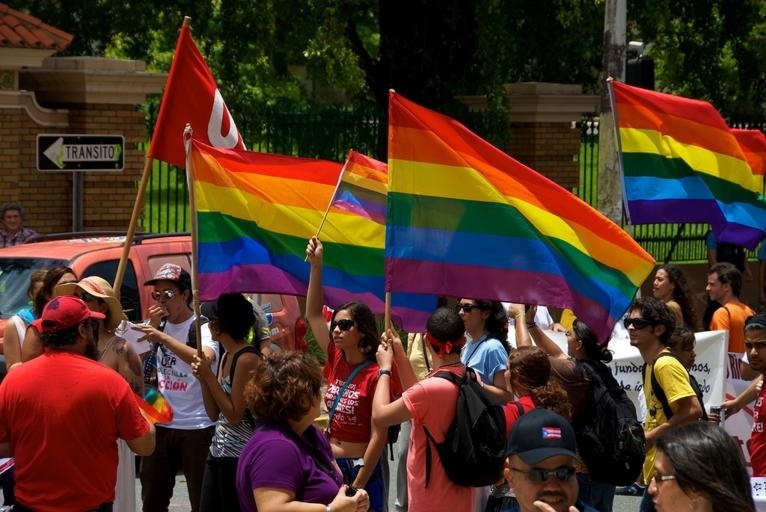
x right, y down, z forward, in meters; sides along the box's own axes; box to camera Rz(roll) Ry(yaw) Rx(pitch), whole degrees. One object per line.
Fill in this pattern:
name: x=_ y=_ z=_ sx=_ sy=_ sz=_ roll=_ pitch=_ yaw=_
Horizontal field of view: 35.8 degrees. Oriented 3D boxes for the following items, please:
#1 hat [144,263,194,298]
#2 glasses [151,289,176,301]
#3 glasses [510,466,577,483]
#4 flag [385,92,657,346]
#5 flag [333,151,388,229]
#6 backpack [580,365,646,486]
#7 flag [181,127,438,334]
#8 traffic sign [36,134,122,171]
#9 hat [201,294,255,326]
hat: x=-2.184 y=0.254 z=12.228 sx=0.444 sy=0.224 sz=0.401 roll=3 pitch=-1 yaw=-10
glasses: x=-2.246 y=0.409 z=12.161 sx=0.243 sy=0.083 sz=0.094 roll=2 pitch=-1 yaw=33
glasses: x=1.259 y=1.736 z=9.433 sx=0.488 sy=0.134 sz=0.063 roll=2 pitch=-1 yaw=8
flag: x=1.530 y=-0.401 z=13.207 sx=3.300 sy=3.120 sz=0.410 roll=12 pitch=-18 yaw=-10
flag: x=-0.245 y=-0.653 z=12.547 sx=0.664 sy=0.844 sz=0.085 roll=28 pitch=-18 yaw=-20
backpack: x=2.165 y=1.616 z=11.349 sx=0.638 sy=1.142 sz=0.349 roll=2 pitch=-1 yaw=10
flag: x=-0.763 y=-0.177 z=12.213 sx=2.019 sy=1.752 sz=0.266 roll=7 pitch=-13 yaw=-23
traffic sign: x=-4.298 y=-1.451 z=16.816 sx=1.260 sy=0.395 sz=0.515 roll=2 pitch=-1 yaw=25
hat: x=-1.590 y=0.511 z=11.603 sx=0.365 sy=0.239 sz=0.306 roll=-14 pitch=-5 yaw=14
